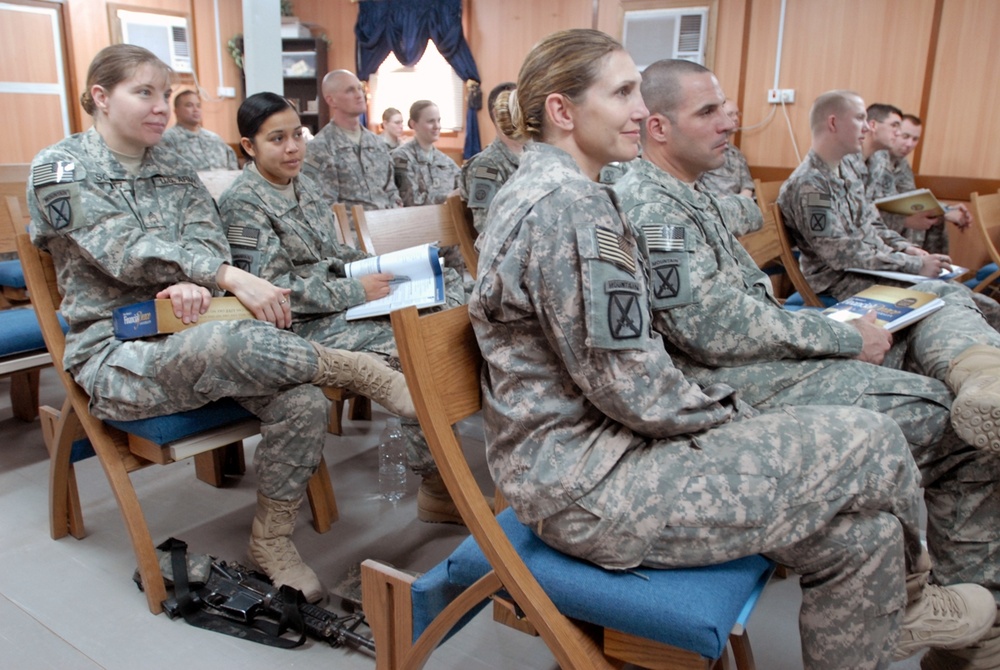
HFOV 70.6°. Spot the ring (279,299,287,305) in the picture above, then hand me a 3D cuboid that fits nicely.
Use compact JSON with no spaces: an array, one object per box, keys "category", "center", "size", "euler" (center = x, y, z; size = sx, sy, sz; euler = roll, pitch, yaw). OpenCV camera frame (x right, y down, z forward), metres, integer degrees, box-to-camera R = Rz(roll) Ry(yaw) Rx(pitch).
[{"category":"ring","center":[-0.812,-0.126,2.643],"size":[0.020,0.006,0.020],"euler":[20,45,-21]}]

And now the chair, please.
[{"category":"chair","center":[-0.370,0.223,2.636],"size":[2.488,1.631,1.435],"euler":[3,9,31]}]

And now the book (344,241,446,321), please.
[{"category":"book","center":[-0.392,-0.181,3.013],"size":[0.392,0.400,0.147],"euler":[-16,-29,20]}]

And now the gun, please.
[{"category":"gun","center":[-0.846,0.910,2.402],"size":[0.644,0.138,0.219],"euler":[18,39,24]}]

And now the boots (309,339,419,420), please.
[{"category":"boots","center":[-0.510,0.153,2.607],"size":[0.515,0.227,0.186],"euler":[18,44,-24]}]

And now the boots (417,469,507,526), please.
[{"category":"boots","center":[-0.202,0.677,3.011],"size":[0.375,0.255,0.119],"euler":[19,-20,-37]}]

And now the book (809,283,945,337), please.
[{"category":"book","center":[1.451,-0.118,2.663],"size":[0.321,0.076,0.298],"euler":[-17,18,-27]}]
